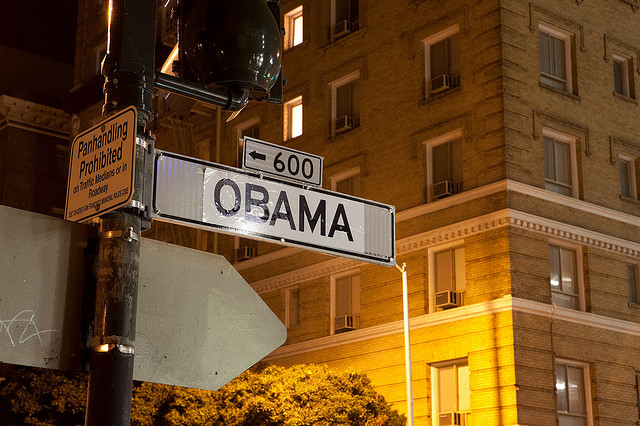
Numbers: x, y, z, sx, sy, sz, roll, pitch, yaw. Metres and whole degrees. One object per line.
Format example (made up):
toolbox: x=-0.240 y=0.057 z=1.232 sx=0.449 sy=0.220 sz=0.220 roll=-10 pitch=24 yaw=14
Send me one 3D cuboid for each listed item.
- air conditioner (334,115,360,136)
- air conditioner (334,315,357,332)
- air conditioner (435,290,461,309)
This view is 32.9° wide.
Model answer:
air conditioner: x=1.201 y=-4.217 z=51.276 sx=0.935 sy=0.629 sz=0.954 roll=-15 pitch=-10 yaw=40
air conditioner: x=1.094 y=5.008 z=49.139 sx=0.706 sy=0.685 sz=1.242 roll=4 pitch=-16 yaw=-17
air conditioner: x=5.460 y=3.722 z=45.592 sx=0.777 sy=0.572 sz=0.795 roll=8 pitch=-16 yaw=-31
